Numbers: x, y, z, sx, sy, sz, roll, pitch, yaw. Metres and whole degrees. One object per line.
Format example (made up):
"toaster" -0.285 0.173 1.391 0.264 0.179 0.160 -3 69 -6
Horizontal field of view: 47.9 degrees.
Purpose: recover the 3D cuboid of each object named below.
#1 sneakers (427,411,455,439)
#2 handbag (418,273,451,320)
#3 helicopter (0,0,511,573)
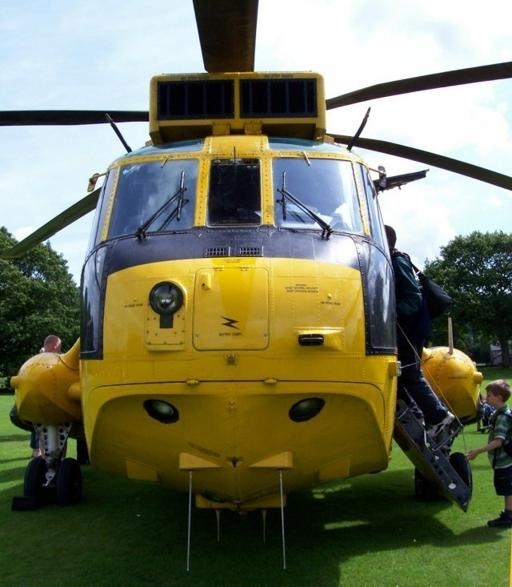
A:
"sneakers" 1.732 1.238 5.440 0.097 0.311 0.128 59 -9 -32
"handbag" 1.769 0.015 5.561 0.182 0.443 0.347 -33 -8 -8
"helicopter" 0.052 -0.110 6.222 4.926 2.513 5.179 -1 -2 3
